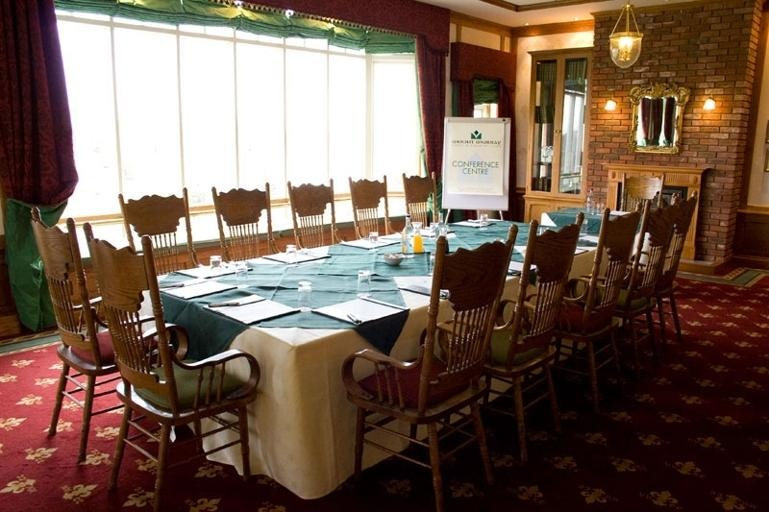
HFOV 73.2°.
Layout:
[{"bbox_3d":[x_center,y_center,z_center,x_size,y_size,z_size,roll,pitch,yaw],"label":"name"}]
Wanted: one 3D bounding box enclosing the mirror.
[{"bbox_3d":[4.227,-2.116,7.838,1.057,1.242,0.194,9,17,42],"label":"mirror"}]
